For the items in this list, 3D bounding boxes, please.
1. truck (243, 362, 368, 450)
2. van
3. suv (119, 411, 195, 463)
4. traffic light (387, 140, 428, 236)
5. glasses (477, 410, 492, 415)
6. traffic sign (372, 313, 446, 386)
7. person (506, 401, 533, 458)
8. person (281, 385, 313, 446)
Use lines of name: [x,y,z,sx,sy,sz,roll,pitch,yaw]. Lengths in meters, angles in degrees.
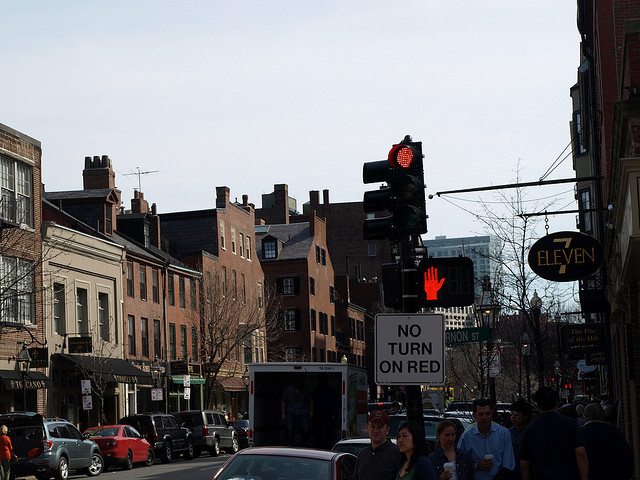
truck: [-1.204,5.116,36.892,2.118,2.660,5.219,-2,-8,14]
van: [-4.936,8.501,53.628,1.436,1.403,3.122,-3,-4,19]
suv: [-6.959,8.186,50.201,2.456,2.262,2.833,-2,-9,3]
traffic light: [1.930,-1.137,26.364,0.766,2.175,0.444,-4,-10,2]
glasses: [3.484,3.655,25.287,0.328,0.115,0.144,-2,-12,-14]
traffic sign: [1.939,2.358,25.914,1.569,1.588,0.344,-5,-10,2]
person: [4.546,4.171,26.872,0.477,1.364,0.550,6,-9,-18]
person: [-0.733,5.075,35.751,0.817,2.080,0.859,0,-6,-3]
